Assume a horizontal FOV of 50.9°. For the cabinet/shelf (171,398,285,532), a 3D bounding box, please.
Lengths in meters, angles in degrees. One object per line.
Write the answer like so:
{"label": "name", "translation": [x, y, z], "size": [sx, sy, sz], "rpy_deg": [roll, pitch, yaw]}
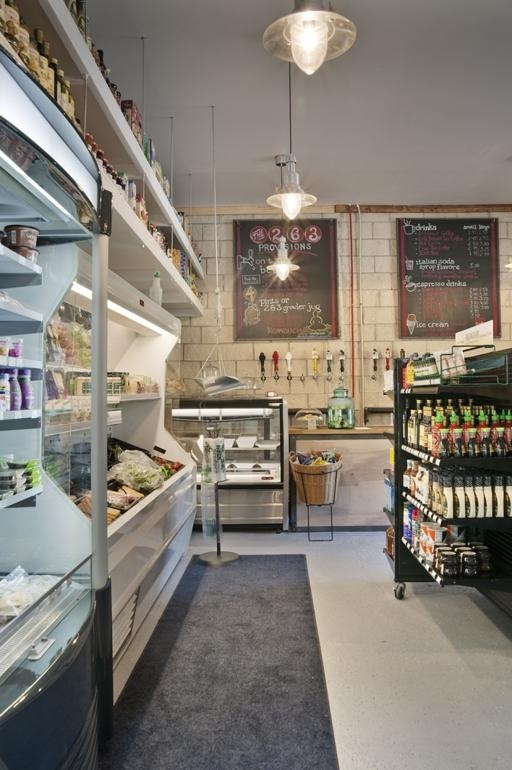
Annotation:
{"label": "cabinet/shelf", "translation": [-0.207, 0.697, 4.614], "size": [1.084, 1.444, 0.524], "rpy_deg": [0, -3, 0]}

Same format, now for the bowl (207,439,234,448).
{"label": "bowl", "translation": [-0.283, 0.453, 4.186], "size": [0.162, 0.084, 0.243], "rpy_deg": [0, -4, 6]}

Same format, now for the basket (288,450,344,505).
{"label": "basket", "translation": [0.526, 0.768, 4.631], "size": [0.434, 0.482, 0.415], "rpy_deg": [-2, 0, 15]}

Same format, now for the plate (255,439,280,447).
{"label": "plate", "translation": [0.097, 0.543, 4.923], "size": [0.212, 0.075, 0.053], "rpy_deg": [0, -2, -8]}

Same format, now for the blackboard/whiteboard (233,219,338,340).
{"label": "blackboard/whiteboard", "translation": [0.370, -1.184, 6.087], "size": [1.222, 1.569, 0.066], "rpy_deg": [0, -1, 2]}

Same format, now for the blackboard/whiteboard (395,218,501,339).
{"label": "blackboard/whiteboard", "translation": [2.116, -1.166, 6.011], "size": [1.438, 1.986, 0.129], "rpy_deg": [0, -4, -4]}
